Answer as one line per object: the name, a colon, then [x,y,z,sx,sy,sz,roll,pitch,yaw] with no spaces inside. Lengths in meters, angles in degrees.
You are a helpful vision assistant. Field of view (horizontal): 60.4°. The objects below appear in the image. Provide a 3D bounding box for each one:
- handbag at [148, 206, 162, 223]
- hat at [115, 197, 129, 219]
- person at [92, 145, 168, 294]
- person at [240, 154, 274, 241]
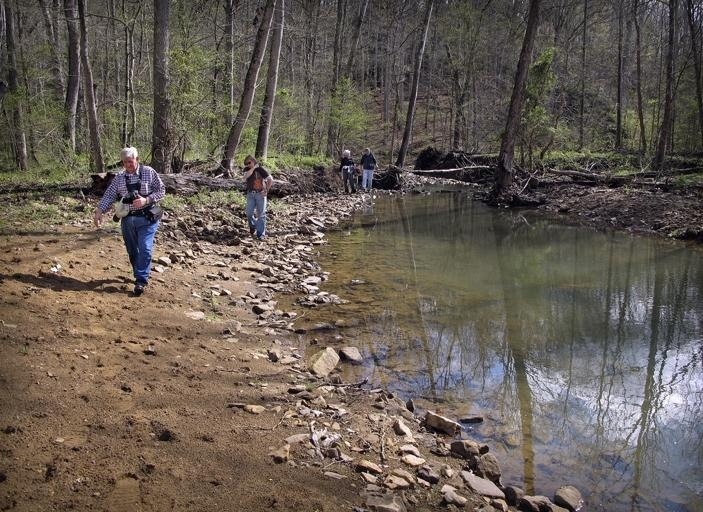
handbag: [-3.936,-0.842,12.071,0.132,0.277,0.279,3,11,6]
hat: [-4.541,-0.931,11.946,0.322,0.426,0.230,7,8,37]
person: [-4.393,-0.740,12.207,1.015,2.874,0.811,5,7,25]
person: [-2.553,-1.587,16.465,0.680,2.216,1.483,1,6,-9]
